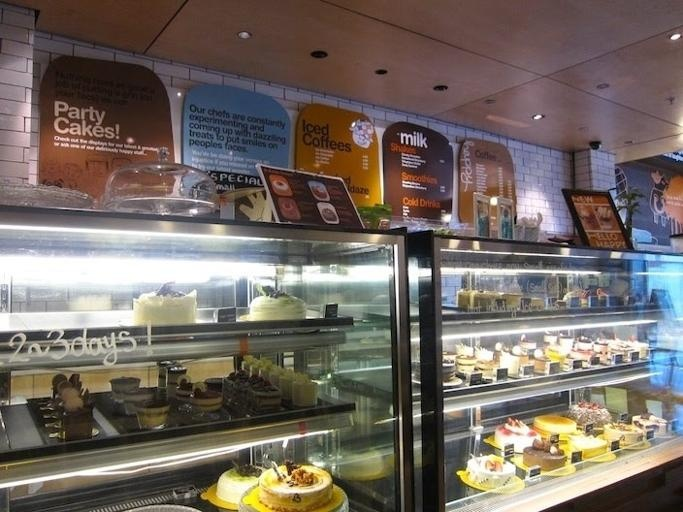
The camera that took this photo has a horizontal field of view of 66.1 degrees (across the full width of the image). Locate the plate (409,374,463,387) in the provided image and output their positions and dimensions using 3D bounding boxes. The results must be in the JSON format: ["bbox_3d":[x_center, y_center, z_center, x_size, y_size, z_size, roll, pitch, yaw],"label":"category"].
[{"bbox_3d":[0.501,0.680,2.864,0.160,0.020,0.160,-3,-4,43],"label":"plate"}]

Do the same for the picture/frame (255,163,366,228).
[{"bbox_3d":[-0.198,-0.343,2.943,0.757,0.451,0.045,5,-39,-37],"label":"picture/frame"}]

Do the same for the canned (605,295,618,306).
[{"bbox_3d":[1.953,0.325,3.792,0.094,0.086,0.082,2,3,8],"label":"canned"}]

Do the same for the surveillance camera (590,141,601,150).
[{"bbox_3d":[2.732,-1.175,5.650,0.092,0.075,0.091,-1,-13,23],"label":"surveillance camera"}]

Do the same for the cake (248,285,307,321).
[{"bbox_3d":[-0.349,0.246,2.729,0.281,0.154,0.267,-1,0,-5],"label":"cake"}]

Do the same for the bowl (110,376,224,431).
[{"bbox_3d":[-0.795,0.676,2.443,0.487,0.173,0.294,-2,-2,-24],"label":"bowl"}]

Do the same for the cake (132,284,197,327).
[{"bbox_3d":[-0.790,0.209,2.368,0.207,0.121,0.204,1,-1,25],"label":"cake"}]
